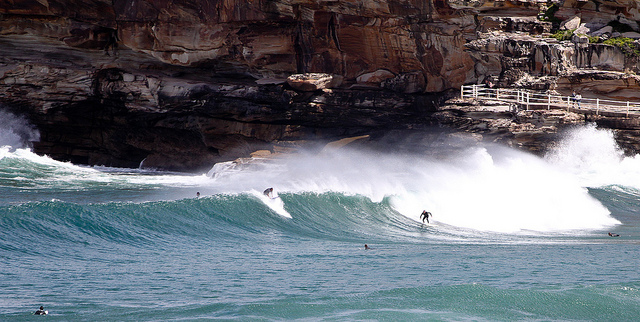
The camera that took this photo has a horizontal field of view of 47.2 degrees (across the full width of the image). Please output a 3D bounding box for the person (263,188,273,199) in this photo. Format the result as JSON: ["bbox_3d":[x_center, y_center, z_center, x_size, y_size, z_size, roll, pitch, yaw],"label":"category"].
[{"bbox_3d":[-3.895,2.394,54.023,0.729,0.701,0.295,1,-11,-6],"label":"person"}]
